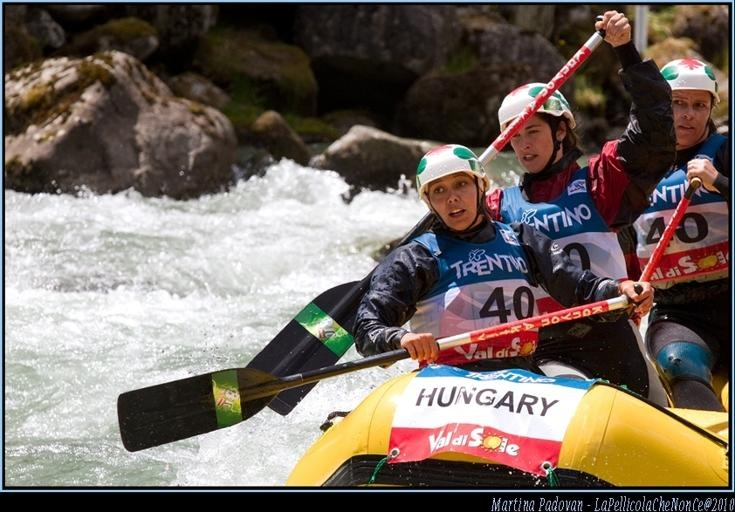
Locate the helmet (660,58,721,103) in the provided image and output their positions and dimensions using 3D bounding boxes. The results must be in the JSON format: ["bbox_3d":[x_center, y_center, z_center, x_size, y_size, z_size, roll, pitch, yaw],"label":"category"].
[{"bbox_3d":[2.226,-1.221,8.143,0.393,0.289,0.296,-2,11,-19],"label":"helmet"}]

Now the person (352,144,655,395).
[{"bbox_3d":[0.780,0.186,7.376,1.824,1.487,0.972,-9,39,-2],"label":"person"}]

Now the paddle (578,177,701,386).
[{"bbox_3d":[1.764,0.191,7.652,0.440,1.590,0.172,35,9,7],"label":"paddle"}]
